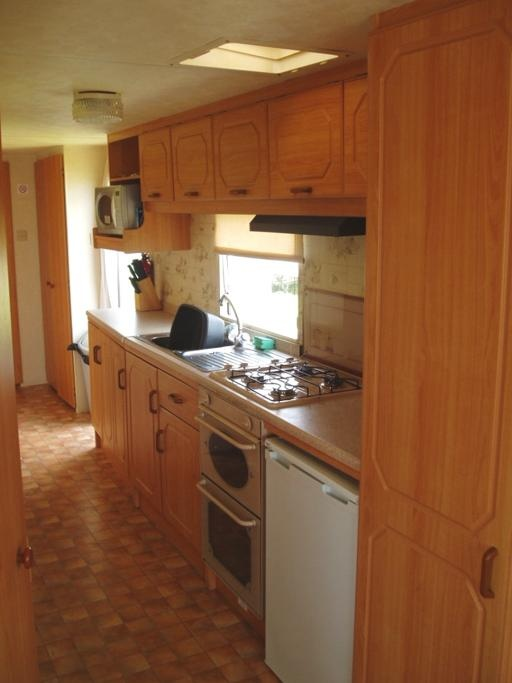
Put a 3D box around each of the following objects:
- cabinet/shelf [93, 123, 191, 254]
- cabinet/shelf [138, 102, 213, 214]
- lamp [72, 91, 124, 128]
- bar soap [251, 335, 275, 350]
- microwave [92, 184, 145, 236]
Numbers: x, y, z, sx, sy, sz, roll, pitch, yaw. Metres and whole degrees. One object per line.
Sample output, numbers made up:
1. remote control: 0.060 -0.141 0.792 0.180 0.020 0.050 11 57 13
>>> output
1. cabinet/shelf: -0.681 -1.028 3.845 0.648 0.653 0.973 -7 17 -28
2. cabinet/shelf: -0.400 -0.951 2.882 0.212 0.344 0.562 -10 17 -27
3. lamp: -0.667 -0.976 2.374 0.140 0.087 0.145 0 17 -2
4. bar soap: 0.035 0.006 2.969 0.086 0.066 0.163 -4 10 -20
5. microwave: -0.884 -0.857 3.678 0.239 0.345 0.398 -9 12 -30
